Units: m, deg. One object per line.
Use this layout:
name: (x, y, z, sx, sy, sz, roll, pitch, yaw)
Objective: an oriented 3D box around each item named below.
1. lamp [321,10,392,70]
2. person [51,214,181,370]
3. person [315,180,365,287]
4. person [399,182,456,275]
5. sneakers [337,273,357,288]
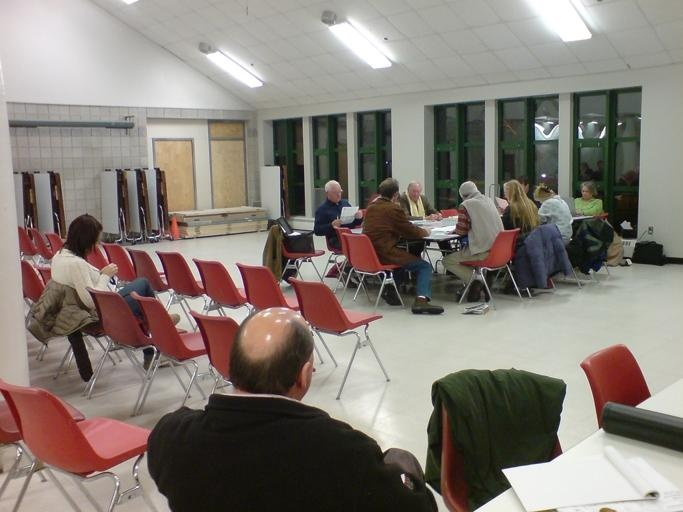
lamp: (0.297, -4.320, 10.201, 0.639, 0.867, 1.650, 9, 15, 43)
person: (-1.924, 0.386, 4.330, 1.265, 1.434, 0.717, 9, 15, 43)
person: (0.036, -0.366, 7.993, 0.726, 1.623, 0.776, -17, 20, -34)
person: (1.375, -0.517, 8.464, 0.763, 1.413, 0.793, -11, 10, -35)
sneakers: (0.070, 0.366, 7.529, 0.241, 0.245, 0.204, 2, 6, 19)
